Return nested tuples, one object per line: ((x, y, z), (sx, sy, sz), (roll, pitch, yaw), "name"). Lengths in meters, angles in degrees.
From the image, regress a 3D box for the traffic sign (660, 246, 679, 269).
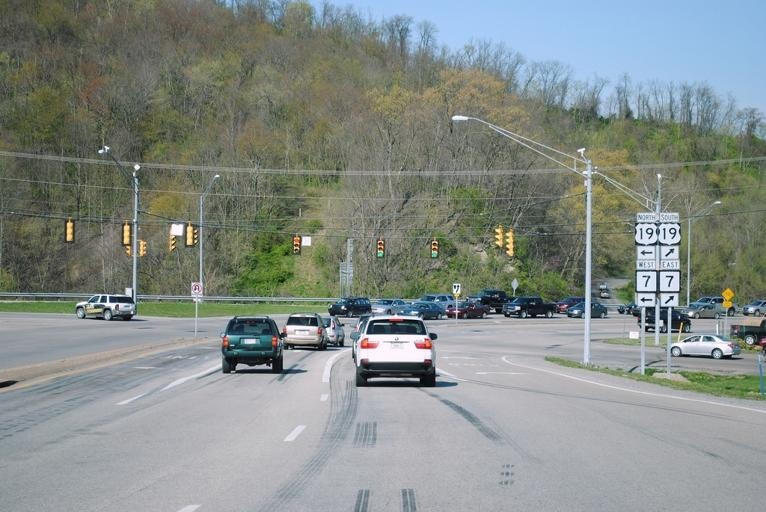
((18.990, 0.188, 64.943), (1.272, 1.649, 0.257), (1, -4, 9), "traffic sign")

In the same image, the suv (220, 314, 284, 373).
((-8.108, 5.660, 60.909), (3.498, 3.448, 1.267), (1, 11, 2), "suv")

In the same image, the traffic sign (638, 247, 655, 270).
((17.488, 0.229, 65.027), (1.274, 1.774, 0.221), (1, 4, 16), "traffic sign")

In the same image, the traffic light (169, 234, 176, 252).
((-20.059, -1.226, 93.698), (0.467, 1.430, 2.420), (-3, 11, -15), "traffic light")
